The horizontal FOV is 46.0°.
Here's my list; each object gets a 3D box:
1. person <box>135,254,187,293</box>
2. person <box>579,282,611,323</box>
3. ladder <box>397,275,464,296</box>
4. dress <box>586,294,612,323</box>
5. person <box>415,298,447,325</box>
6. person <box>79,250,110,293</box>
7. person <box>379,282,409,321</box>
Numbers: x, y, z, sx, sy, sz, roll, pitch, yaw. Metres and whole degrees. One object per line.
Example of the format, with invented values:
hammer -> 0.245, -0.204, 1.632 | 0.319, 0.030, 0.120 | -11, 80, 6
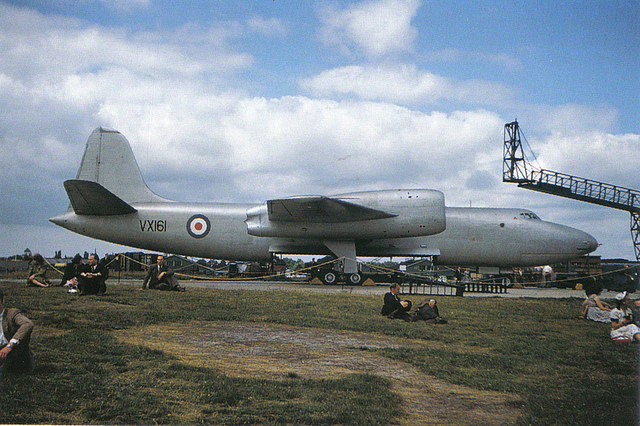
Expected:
person -> -5.435, 2.145, 26.757 | 1.719, 1.178, 0.884 | 0, 0, 25
person -> 8.482, 2.783, 23.262 | 0.773, 1.055, 1.099 | -3, 5, 5
ladder -> 4.394, 2.920, 30.008 | 2.347, 0.808, 3.497 | -2, 5, 4
dress -> 8.488, 2.910, 23.023 | 0.318, 0.793, 0.756 | -7, 6, -28
person -> 3.268, 2.891, 22.761 | 0.338, 0.643, 0.831 | 7, -11, -17
person -> -7.433, 1.993, 24.531 | 0.802, 1.388, 0.971 | -3, 6, 4
person -> 2.264, 2.668, 22.971 | 0.757, 0.968, 0.929 | -5, 5, -12
